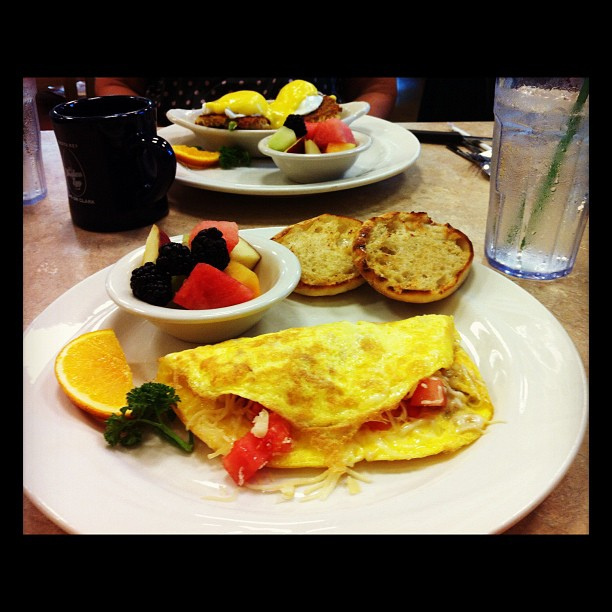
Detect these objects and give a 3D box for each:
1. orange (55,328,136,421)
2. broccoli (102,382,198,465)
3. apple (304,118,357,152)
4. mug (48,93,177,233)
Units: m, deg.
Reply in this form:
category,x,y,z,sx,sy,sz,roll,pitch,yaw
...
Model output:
category,x,y,z,sx,sy,sz,roll,pitch,yaw
orange,-0.391,0.119,1.043,0.135,0.039,0.211,2,40,-23
broccoli,-0.221,0.181,0.932,0.160,0.075,0.159,-1,16,-24
apple,0.072,-0.542,1.821,0.164,0.079,0.135,-1,34,-1
mug,-0.516,-0.394,1.597,0.291,0.324,0.302,9,38,11
